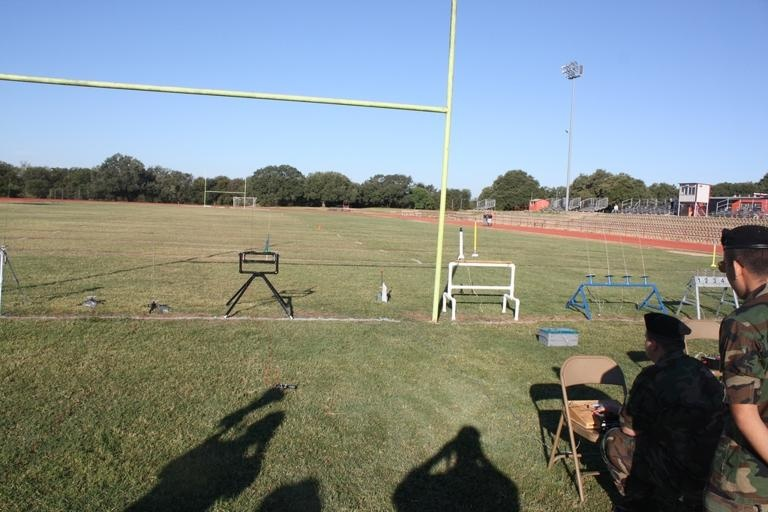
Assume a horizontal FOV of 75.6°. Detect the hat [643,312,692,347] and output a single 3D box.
[{"bbox_3d":[2.664,0.654,4.737,0.294,0.144,0.368,3,14,3],"label":"hat"}]
